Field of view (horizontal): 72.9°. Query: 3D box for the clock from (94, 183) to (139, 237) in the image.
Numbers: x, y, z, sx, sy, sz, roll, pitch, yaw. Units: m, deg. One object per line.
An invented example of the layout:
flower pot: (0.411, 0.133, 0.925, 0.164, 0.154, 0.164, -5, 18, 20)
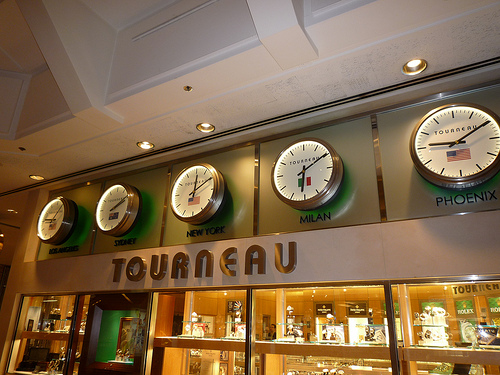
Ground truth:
clock: (-1.725, 0.316, 4.422, 0.165, 0.668, 0.612, 12, -4, -43)

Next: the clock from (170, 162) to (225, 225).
clock: (-0.589, 0.088, 3.912, 0.649, 0.740, 0.162, 2, -10, 43)

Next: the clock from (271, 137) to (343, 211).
clock: (0.573, -0.137, 3.426, 0.716, 0.690, 0.202, -15, -31, 28)

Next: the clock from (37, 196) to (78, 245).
clock: (-2.773, 0.503, 4.886, 0.631, 0.724, 0.182, -2, -20, 35)
